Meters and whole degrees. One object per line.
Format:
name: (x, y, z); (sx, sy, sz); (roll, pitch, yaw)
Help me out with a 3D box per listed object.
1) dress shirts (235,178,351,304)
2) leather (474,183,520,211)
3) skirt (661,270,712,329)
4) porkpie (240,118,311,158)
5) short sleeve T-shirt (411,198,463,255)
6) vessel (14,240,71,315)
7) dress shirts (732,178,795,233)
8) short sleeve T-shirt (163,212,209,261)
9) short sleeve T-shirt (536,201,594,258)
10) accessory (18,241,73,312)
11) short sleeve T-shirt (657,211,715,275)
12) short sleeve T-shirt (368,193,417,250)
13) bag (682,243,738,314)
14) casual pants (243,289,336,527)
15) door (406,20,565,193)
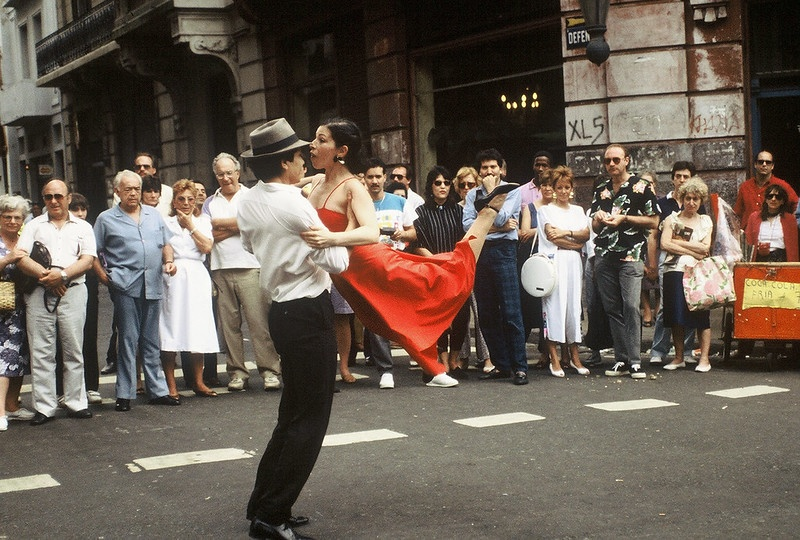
dress shirts: (-0.870, -0.263, 8.385); (1.280, 0.984, 0.675); (13, 24, 41)
leather: (1.071, -0.816, 11.173); (0.513, 0.169, 0.203); (-30, -3, 27)
skirt: (3.593, 0.365, 12.459); (0.758, 0.912, 0.533); (0, -5, -9)
porkpie: (-1.034, -1.055, 8.079); (0.410, 0.148, 0.358); (-18, 15, -17)
short sleeve T-shirt: (0.469, -0.522, 12.229); (0.737, 0.645, 0.348); (1, -8, -6)
vessel: (-3.928, 0.079, 10.815); (0.453, 0.743, 0.175); (-3, 0, -21)
dress shirts: (4.996, -0.864, 13.690); (0.895, 0.686, 0.352); (6, 1, 45)
short sleeve T-shirt: (-2.537, -0.376, 11.798); (0.563, 0.508, 0.292); (-3, -9, -13)
short sleeve T-shirt: (2.020, -0.503, 12.408); (0.736, 0.670, 0.404); (-1, -7, -13)
accessory: (-3.827, 0.067, 10.919); (0.560, 0.691, 0.220); (1, 12, 38)
short sleeve T-shirt: (3.609, -0.339, 12.505); (0.637, 0.737, 0.419); (14, -11, 2)
short sleeve T-shirt: (-0.100, -0.554, 11.607); (0.714, 0.611, 0.258); (-5, -14, -17)
bag: (3.841, 0.110, 12.423); (0.781, 0.738, 0.301); (-10, -25, -4)
casual pants: (-0.859, 1.077, 7.895); (0.763, 1.794, 0.382); (-3, 0, -13)
door: (1.780, -3.127, 18.289); (3.459, 2.301, 0.156); (-15, 18, -20)
